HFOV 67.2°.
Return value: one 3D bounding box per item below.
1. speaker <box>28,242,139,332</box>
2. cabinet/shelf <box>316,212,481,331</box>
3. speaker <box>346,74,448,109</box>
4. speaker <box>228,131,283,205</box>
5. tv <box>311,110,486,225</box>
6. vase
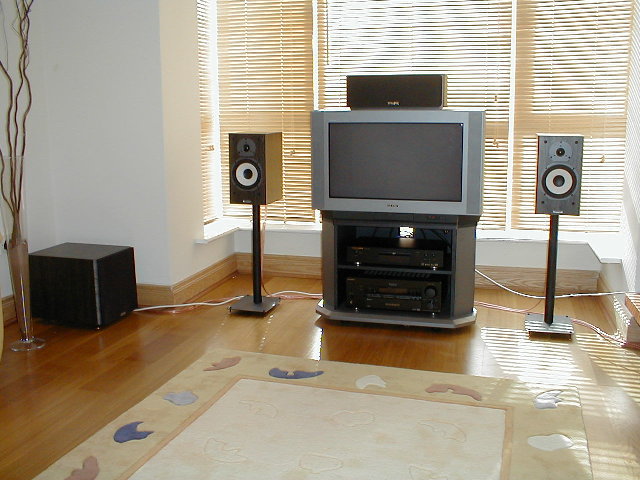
[{"bbox_3d":[-1.595,0.323,3.377,0.572,0.553,0.515,-1,-4,33],"label":"speaker"},{"bbox_3d":[0.538,0.187,3.423,1.105,0.766,0.570,1,4,13],"label":"cabinet/shelf"},{"bbox_3d":[0.477,-0.952,3.109,0.601,0.218,0.081,1,14,6],"label":"speaker"},{"bbox_3d":[-0.460,-0.512,3.496,0.333,0.487,0.356,8,13,29],"label":"speaker"},{"bbox_3d":[0.492,-0.522,3.371,1.209,0.718,0.641,1,11,2],"label":"tv"},{"bbox_3d":[-1.846,0.249,2.945,0.178,0.844,0.235,-9,16,-31],"label":"vase"}]
